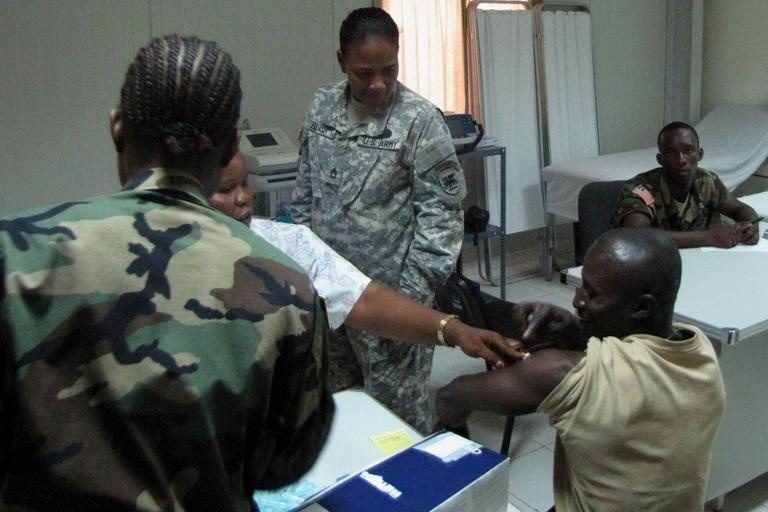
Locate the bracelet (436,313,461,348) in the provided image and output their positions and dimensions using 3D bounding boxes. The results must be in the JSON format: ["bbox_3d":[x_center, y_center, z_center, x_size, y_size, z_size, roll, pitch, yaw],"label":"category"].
[{"bbox_3d":[0.147,0.170,1.392,0.024,0.068,0.060,5,-11,-3],"label":"bracelet"}]
